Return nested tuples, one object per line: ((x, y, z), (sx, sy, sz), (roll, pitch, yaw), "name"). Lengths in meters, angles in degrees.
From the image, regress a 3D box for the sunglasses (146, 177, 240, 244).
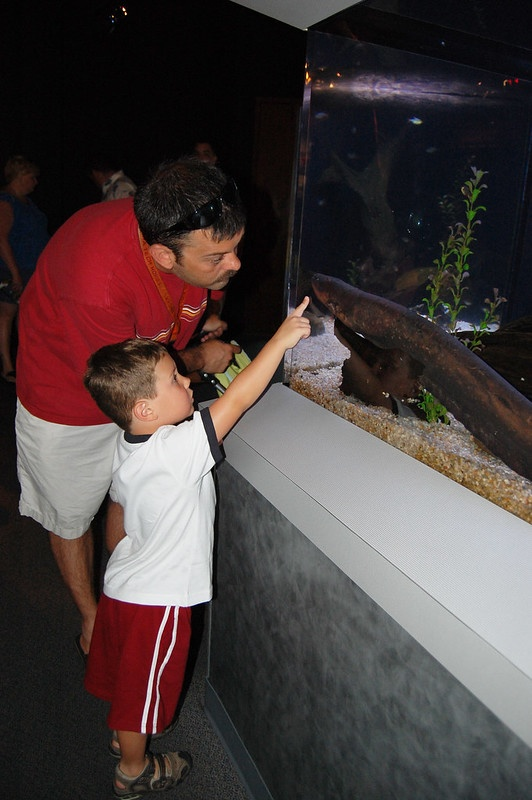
((-0.125, -0.330, 1.047), (0.128, 0.040, 0.130), (-23, 21, 11), "sunglasses")

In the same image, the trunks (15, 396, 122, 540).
((-0.472, 0.157, 1.392), (0.177, 0.327, 0.262), (18, 24, -5), "trunks")

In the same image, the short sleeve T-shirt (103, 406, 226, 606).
((-0.199, 0.189, 1.071), (0.225, 0.404, 0.211), (0, 24, -6), "short sleeve T-shirt")
